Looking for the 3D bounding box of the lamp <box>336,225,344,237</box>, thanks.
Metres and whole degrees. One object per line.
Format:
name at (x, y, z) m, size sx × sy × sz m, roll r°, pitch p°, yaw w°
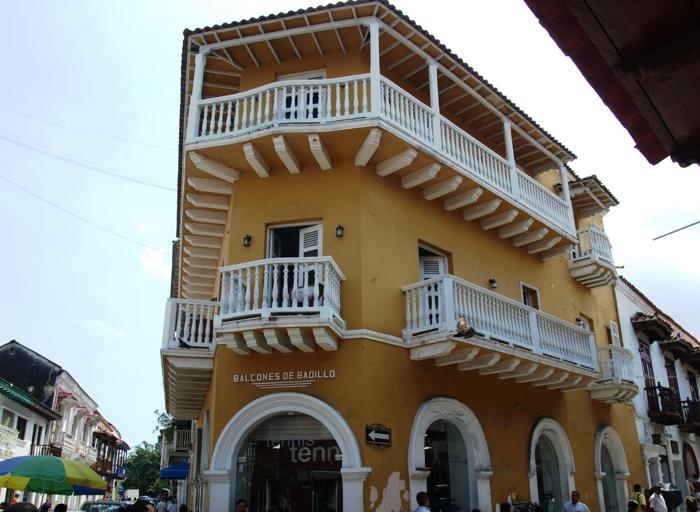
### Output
lamp at (-0.255, -0.631, 13.682) m, size 0.191 × 0.297 × 0.150 m, roll 0°, pitch -26°, yaw 4°
